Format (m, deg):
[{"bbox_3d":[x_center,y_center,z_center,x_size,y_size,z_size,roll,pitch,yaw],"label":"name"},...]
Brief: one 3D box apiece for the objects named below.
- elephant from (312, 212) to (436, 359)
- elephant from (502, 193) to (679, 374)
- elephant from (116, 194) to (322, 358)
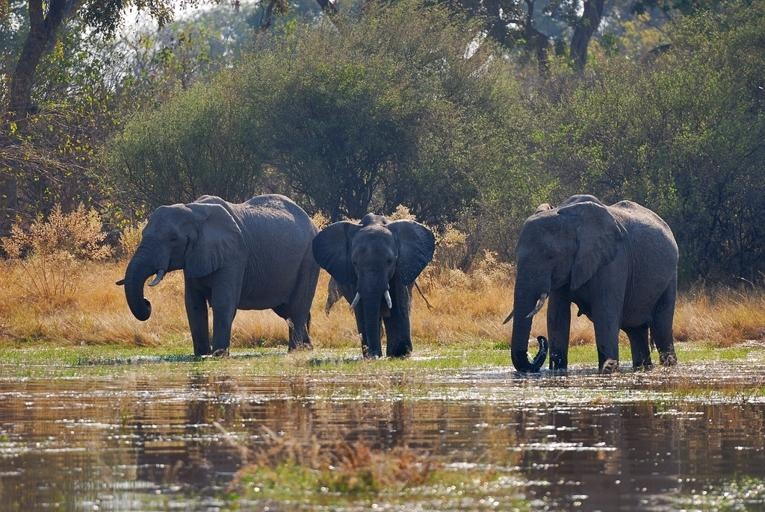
[{"bbox_3d":[-0.023,0.630,26.104,1.934,2.817,3.720,-1,3,2],"label":"elephant"},{"bbox_3d":[3.948,0.711,24.427,3.876,3.201,1.984,3,-2,-33],"label":"elephant"},{"bbox_3d":[-3.029,0.493,26.650,4.325,3.372,1.916,4,-7,-38],"label":"elephant"}]
